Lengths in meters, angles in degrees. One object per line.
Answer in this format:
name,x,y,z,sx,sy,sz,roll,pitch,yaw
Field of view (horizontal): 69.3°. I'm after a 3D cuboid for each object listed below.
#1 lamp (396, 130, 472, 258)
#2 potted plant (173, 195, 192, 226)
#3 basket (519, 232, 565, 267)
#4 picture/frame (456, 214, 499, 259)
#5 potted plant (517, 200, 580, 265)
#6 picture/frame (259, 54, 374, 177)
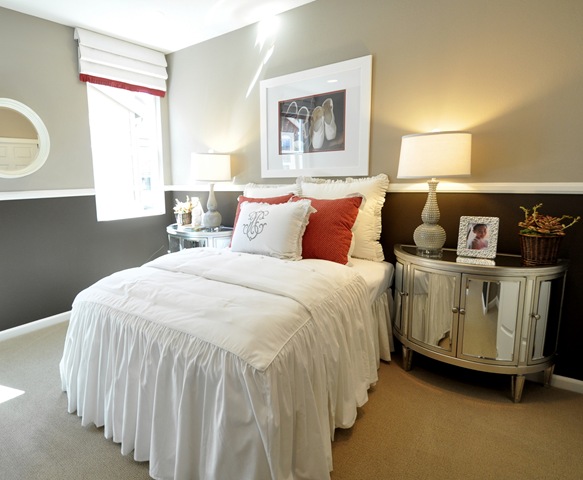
lamp,1.019,-0.332,3.035,0.486,0.863,0.328,4,8,24
potted plant,-1.104,-0.270,4.314,0.182,0.239,0.158,0,7,-9
basket,1.596,0.059,2.686,0.210,0.181,0.207,2,-1,-18
picture/frame,1.292,-0.034,2.908,0.236,0.344,0.035,2,36,23
potted plant,1.647,-0.065,2.787,0.383,0.453,0.348,2,6,19
picture/frame,0.254,-1.116,3.684,1.071,0.986,0.043,4,7,38
